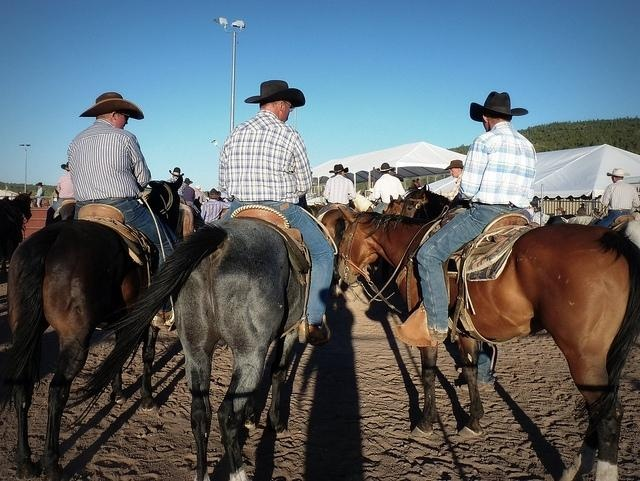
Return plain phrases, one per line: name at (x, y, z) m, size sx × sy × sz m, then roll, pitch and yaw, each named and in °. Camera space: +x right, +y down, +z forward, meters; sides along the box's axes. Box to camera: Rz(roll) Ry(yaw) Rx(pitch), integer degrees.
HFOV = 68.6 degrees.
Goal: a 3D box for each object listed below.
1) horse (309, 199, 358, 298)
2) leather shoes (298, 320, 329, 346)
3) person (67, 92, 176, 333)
horse at (0.358, 0.062, 7.340) m, size 0.440 × 1.309 × 1.854 m, roll -21°, pitch -12°, yaw -1°
leather shoes at (-0.022, 0.962, 4.868) m, size 0.454 × 0.216 × 0.165 m, roll -1°, pitch 0°, yaw -36°
person at (-2.066, -0.303, 4.993) m, size 0.903 × 2.485 × 0.978 m, roll -4°, pitch 1°, yaw 21°
